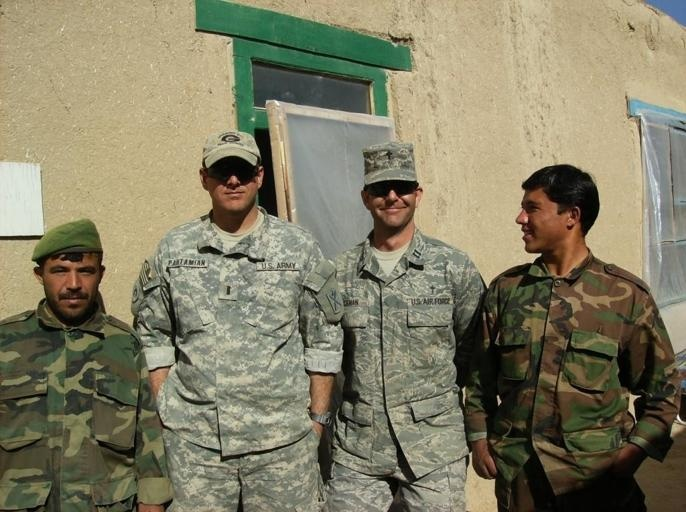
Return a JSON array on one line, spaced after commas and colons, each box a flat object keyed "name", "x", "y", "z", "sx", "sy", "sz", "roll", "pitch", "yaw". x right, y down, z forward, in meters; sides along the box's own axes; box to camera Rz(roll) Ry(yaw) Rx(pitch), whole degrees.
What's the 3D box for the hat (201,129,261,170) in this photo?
[{"name": "hat", "x": -0.573, "y": -0.545, "z": 4.983, "sx": 0.324, "sy": 0.197, "sz": 0.417, "roll": -1, "pitch": 1, "yaw": -11}]
